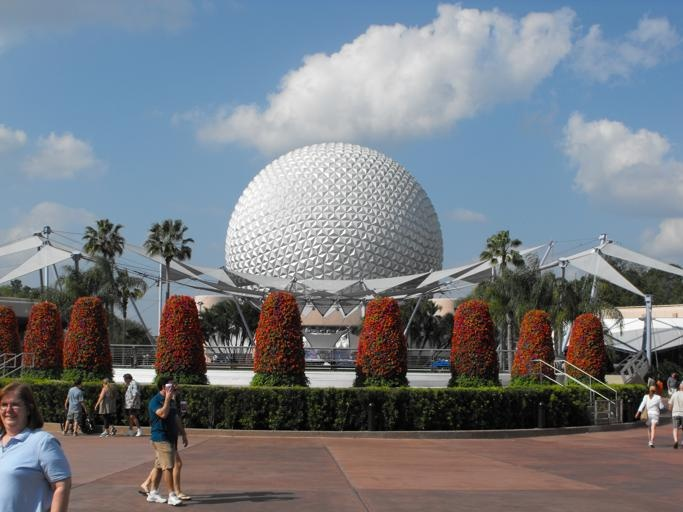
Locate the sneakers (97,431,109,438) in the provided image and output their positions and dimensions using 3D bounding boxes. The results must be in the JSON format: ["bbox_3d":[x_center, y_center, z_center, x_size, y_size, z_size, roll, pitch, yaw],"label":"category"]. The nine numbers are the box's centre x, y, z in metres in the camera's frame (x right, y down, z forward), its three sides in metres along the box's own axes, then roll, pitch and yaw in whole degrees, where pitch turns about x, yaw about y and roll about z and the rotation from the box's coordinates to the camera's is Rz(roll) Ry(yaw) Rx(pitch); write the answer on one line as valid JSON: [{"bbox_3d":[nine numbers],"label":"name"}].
[{"bbox_3d":[-6.355,4.755,22.656,0.317,0.246,0.110,-6,-14,25],"label":"sneakers"}]

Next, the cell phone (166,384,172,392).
[{"bbox_3d":[-3.208,2.444,15.749,0.111,0.115,0.027,1,-5,0],"label":"cell phone"}]

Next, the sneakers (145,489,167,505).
[{"bbox_3d":[-3.331,4.322,15.282,0.405,0.205,0.169,6,-11,5],"label":"sneakers"}]

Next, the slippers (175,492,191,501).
[{"bbox_3d":[-2.844,4.327,15.296,0.291,0.216,0.106,-4,-6,16],"label":"slippers"}]

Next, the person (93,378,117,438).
[{"bbox_3d":[-6.388,4.076,22.993,0.529,1.536,1.085,1,-10,-16],"label":"person"}]

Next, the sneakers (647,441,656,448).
[{"bbox_3d":[7.854,4.764,21.514,0.101,0.141,0.315,0,-1,8],"label":"sneakers"}]

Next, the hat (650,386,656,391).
[{"bbox_3d":[8.076,3.436,22.044,0.142,0.148,0.115,-2,-5,15],"label":"hat"}]

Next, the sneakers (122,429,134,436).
[{"bbox_3d":[-5.754,4.755,22.946,0.317,0.249,0.156,2,-7,28],"label":"sneakers"}]

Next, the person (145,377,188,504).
[{"bbox_3d":[-3.202,3.383,15.495,0.747,2.205,0.526,-5,-9,17],"label":"person"}]

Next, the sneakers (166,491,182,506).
[{"bbox_3d":[-2.985,4.314,15.124,0.269,0.229,0.214,-2,-9,0],"label":"sneakers"}]
